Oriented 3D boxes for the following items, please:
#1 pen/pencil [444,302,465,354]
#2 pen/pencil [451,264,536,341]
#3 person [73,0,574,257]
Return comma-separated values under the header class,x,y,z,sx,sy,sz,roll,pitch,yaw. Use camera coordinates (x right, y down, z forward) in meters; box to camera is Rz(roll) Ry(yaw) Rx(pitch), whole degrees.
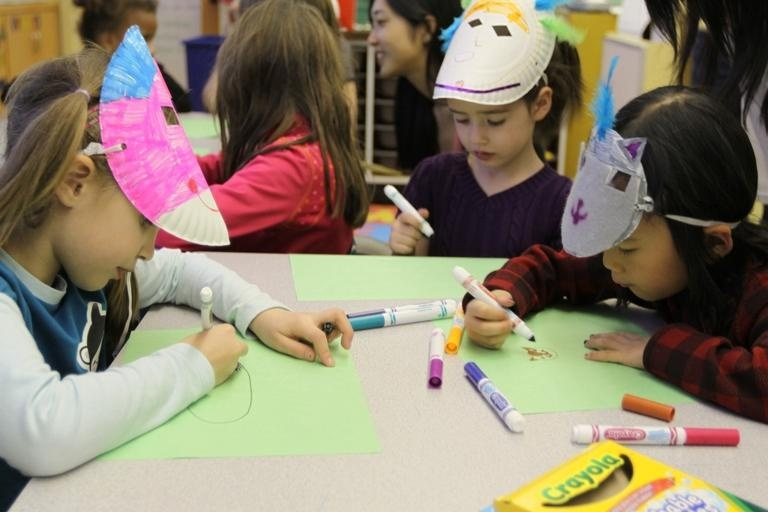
class,x,y,z,sx,sy,sz,roll,pitch,yaw
pen/pencil,0.122,0.139,1.176,0.019,0.018,0.096,-14,21,15
pen/pencil,0.206,0.092,1.208,0.027,0.026,0.159,-37,71,-26
person,-0.110,-0.311,1.632,1.066,0.595,0.289,-1,10,-1
